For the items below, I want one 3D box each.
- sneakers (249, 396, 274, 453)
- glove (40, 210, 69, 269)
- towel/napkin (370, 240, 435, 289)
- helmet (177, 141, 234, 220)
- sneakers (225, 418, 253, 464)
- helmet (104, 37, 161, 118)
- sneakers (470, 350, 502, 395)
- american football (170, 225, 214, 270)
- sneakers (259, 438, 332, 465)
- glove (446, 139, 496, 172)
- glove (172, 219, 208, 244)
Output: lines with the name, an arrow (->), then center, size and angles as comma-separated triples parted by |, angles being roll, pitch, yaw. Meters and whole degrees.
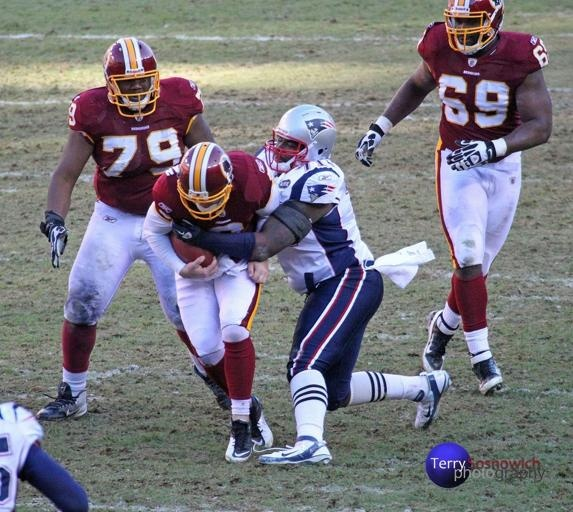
sneakers -> -0.138, 0.916, 5.521 | 0.123, 0.272, 0.135 | -19, -5, 2
glove -> -1.255, -0.089, 5.519 | 0.130, 0.288, 0.371 | -3, 13, -13
towel/napkin -> 0.672, 0.045, 5.703 | 0.388, 0.122, 0.250 | -30, 51, -30
helmet -> -0.372, -0.396, 5.218 | 0.359, 0.308, 0.344 | 3, 56, 9
sneakers -> -0.244, 0.974, 5.343 | 0.115, 0.245, 0.120 | 0, -17, 1
helmet -> -0.862, -1.005, 5.680 | 0.378, 0.392, 0.438 | -5, 44, -11
sneakers -> 1.179, 0.706, 5.953 | 0.177, 0.219, 0.146 | 3, 14, 10
american football -> -0.484, -0.045, 5.309 | 0.238, 0.124, 0.170 | 32, 0, -7
sneakers -> 0.073, 1.004, 5.220 | 0.451, 0.131, 0.136 | 1, -3, -4
glove -> 1.058, -0.571, 5.813 | 0.280, 0.124, 0.095 | -14, -9, 24
glove -> -0.512, -0.132, 5.250 | 0.159, 0.078, 0.124 | 18, 23, -24
